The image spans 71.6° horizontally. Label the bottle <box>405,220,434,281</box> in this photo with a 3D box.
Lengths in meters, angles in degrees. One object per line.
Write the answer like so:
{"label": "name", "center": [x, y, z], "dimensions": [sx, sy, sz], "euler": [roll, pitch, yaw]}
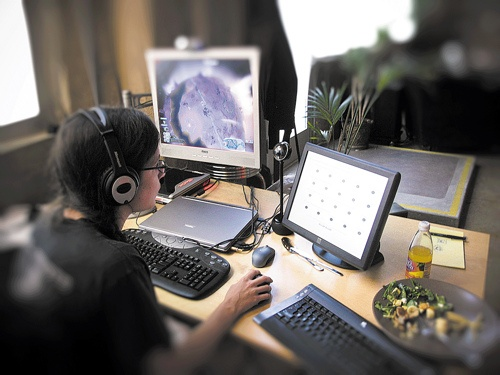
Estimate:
{"label": "bottle", "center": [0.499, 0.191, 1.023], "dimensions": [0.058, 0.193, 0.062], "euler": [-5, 34, 3]}

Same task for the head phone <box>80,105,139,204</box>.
{"label": "head phone", "center": [-0.324, -0.081, 0.790], "dimensions": [0.062, 0.179, 0.170], "euler": [-19, 24, -17]}

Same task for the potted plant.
{"label": "potted plant", "center": [0.379, -0.245, 1.217], "dimensions": [0.103, 0.281, 0.172], "euler": [7, 26, 15]}

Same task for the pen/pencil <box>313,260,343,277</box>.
{"label": "pen/pencil", "center": [0.245, 0.252, 1.078], "dimensions": [0.014, 0.005, 0.091], "euler": [-33, 41, -19]}

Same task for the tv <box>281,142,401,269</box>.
{"label": "tv", "center": [0.267, 0.068, 1.070], "dimensions": [0.156, 0.277, 0.283], "euler": [-30, 51, -34]}

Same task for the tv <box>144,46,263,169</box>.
{"label": "tv", "center": [-0.150, -0.290, 1.196], "dimensions": [0.351, 0.334, 0.132], "euler": [7, 33, 16]}

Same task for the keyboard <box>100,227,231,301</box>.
{"label": "keyboard", "center": [-0.213, 0.146, 1.023], "dimensions": [0.376, 0.060, 0.185], "euler": [20, 48, 33]}

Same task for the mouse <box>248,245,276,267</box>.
{"label": "mouse", "center": [0.049, 0.224, 1.159], "dimensions": [0.074, 0.054, 0.139], "euler": [-3, 1, 17]}
